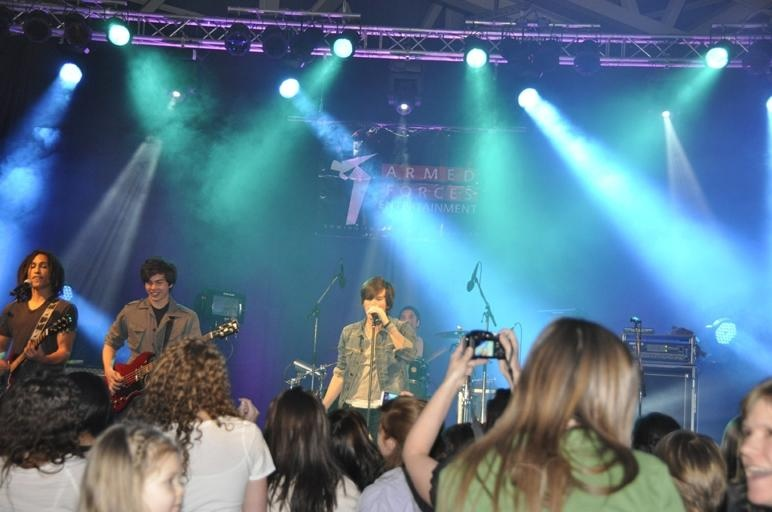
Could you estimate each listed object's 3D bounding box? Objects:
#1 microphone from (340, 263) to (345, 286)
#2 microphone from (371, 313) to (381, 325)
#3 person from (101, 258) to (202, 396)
[{"bbox_3d":[-0.570,0.235,9.148,0.092,0.356,0.099,-2,3,4],"label":"microphone"},{"bbox_3d":[-0.103,0.662,7.462,0.083,0.100,0.113,-3,10,21],"label":"microphone"},{"bbox_3d":[-2.403,0.780,7.264,0.995,1.394,0.830,3,8,-15],"label":"person"}]
